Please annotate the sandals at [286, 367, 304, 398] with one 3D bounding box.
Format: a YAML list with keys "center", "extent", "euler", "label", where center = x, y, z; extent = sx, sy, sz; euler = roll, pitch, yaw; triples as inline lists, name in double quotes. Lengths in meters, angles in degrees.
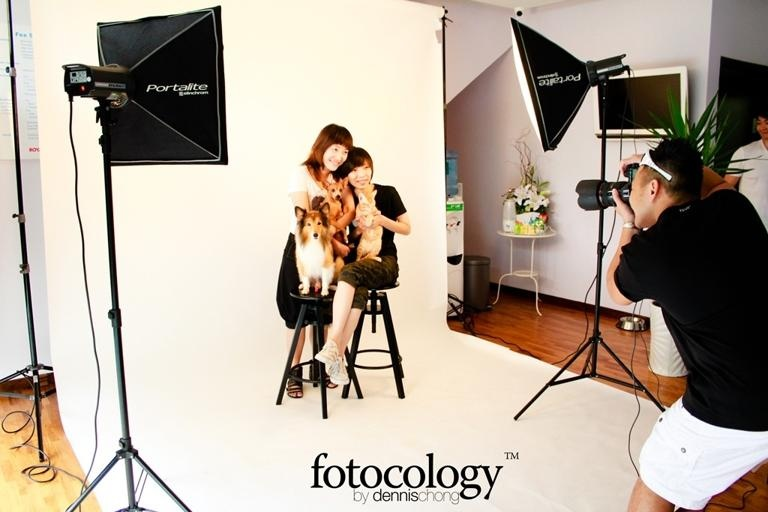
- center: [-0.683, 0.968, 4.270]
  extent: [0.109, 0.131, 0.321]
  euler: [0, 0, -1]
  label: "sandals"

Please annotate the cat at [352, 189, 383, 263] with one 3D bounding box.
- center: [-0.110, -0.216, 4.144]
  extent: [0.164, 0.516, 0.339]
  euler: [-1, 0, 5]
  label: "cat"

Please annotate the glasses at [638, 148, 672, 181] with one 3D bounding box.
- center: [1.336, -0.432, 2.769]
  extent: [0.135, 0.044, 0.123]
  euler: [36, -1, 19]
  label: "glasses"

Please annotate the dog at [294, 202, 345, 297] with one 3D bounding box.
- center: [-0.494, -0.075, 4.111]
  extent: [0.350, 0.659, 0.583]
  euler: [-1, 16, -4]
  label: "dog"

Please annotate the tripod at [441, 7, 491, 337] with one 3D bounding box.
- center: [0.920, -0.985, 6.178]
  extent: [0.544, 3.275, 1.812]
  euler: [1, 8, 8]
  label: "tripod"

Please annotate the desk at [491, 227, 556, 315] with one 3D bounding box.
- center: [1.606, 0.139, 6.580]
  extent: [0.640, 0.847, 0.671]
  euler: [7, 9, 30]
  label: "desk"

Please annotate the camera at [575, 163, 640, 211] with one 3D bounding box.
- center: [1.346, -0.416, 3.379]
  extent: [0.315, 0.294, 0.188]
  euler: [8, 26, 40]
  label: "camera"

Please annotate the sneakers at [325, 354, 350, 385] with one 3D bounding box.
- center: [-0.353, 0.787, 3.997]
  extent: [0.101, 0.130, 0.270]
  euler: [17, -3, -43]
  label: "sneakers"
